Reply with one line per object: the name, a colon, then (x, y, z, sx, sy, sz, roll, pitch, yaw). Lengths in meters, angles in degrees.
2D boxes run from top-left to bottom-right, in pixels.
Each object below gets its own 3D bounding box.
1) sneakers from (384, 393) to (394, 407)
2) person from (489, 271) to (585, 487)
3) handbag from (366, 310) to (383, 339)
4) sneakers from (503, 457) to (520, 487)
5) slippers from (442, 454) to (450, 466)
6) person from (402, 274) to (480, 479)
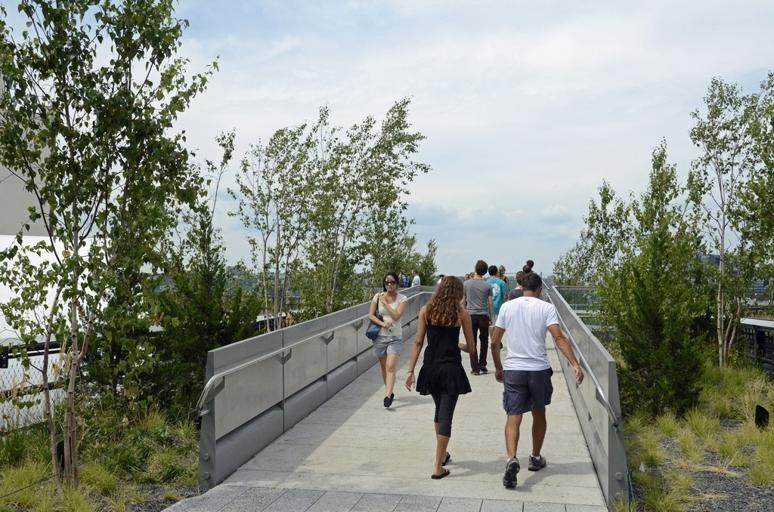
sneakers: (0.033, 2.601, 10.339, 0.188, 0.283, 0.357, 0, -3, -3)
person: (1.929, 1.551, 7.458, 1.060, 2.707, 1.094, -1, -2, 36)
handbag: (-0.215, 1.297, 10.436, 0.254, 0.488, 0.161, 20, 12, 8)
sneakers: (1.565, 2.691, 7.138, 0.184, 0.396, 0.176, 0, -1, -4)
slippers: (0.831, 2.818, 7.969, 0.069, 0.091, 0.214, 0, 18, 21)
person: (0.741, 1.589, 7.698, 0.885, 2.623, 0.816, 0, -1, 4)
